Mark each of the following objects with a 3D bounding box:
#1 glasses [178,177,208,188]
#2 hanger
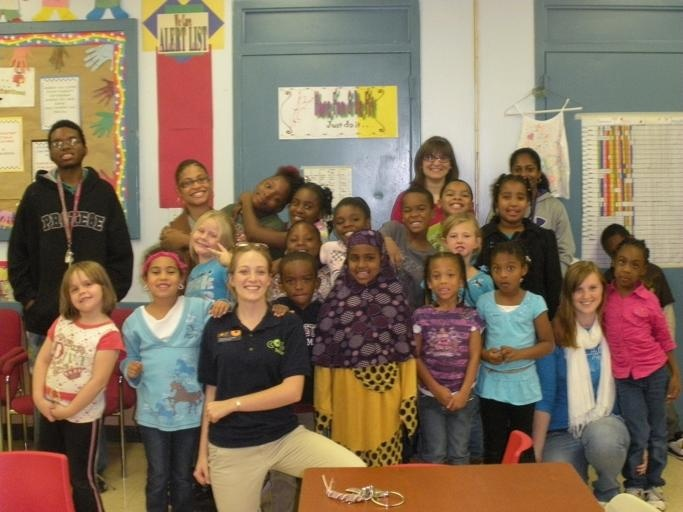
[{"bbox_3d":[-0.848,-0.422,4.234,0.166,0.060,0.056,-5,7,-18],"label":"glasses"},{"bbox_3d":[1.370,-1.130,5.069,0.421,0.202,0.021,1,4,3],"label":"hanger"}]
